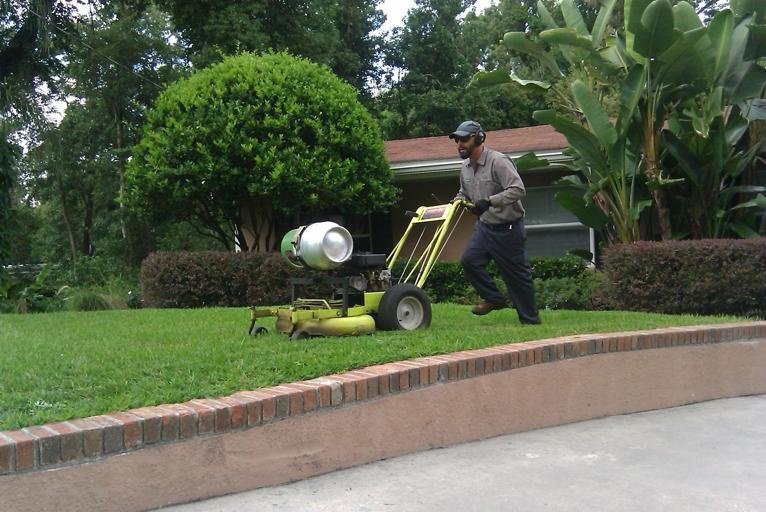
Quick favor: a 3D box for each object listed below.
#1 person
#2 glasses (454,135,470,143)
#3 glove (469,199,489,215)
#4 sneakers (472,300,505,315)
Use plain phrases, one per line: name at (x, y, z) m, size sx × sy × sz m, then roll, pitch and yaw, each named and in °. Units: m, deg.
person at (1.422, -0.409, 9.709) m, size 1.011 × 2.580 × 0.708 m, roll -1°, pitch -2°, yaw 10°
glasses at (0.991, -1.453, 9.551) m, size 0.103 × 0.106 × 0.030 m, roll -24°, pitch -32°, yaw 19°
glove at (1.232, -0.613, 9.537) m, size 0.237 × 0.194 × 0.276 m, roll 1°, pitch -4°, yaw -40°
sneakers at (1.316, 0.669, 9.908) m, size 0.509 × 0.235 × 0.192 m, roll -4°, pitch -15°, yaw 6°
